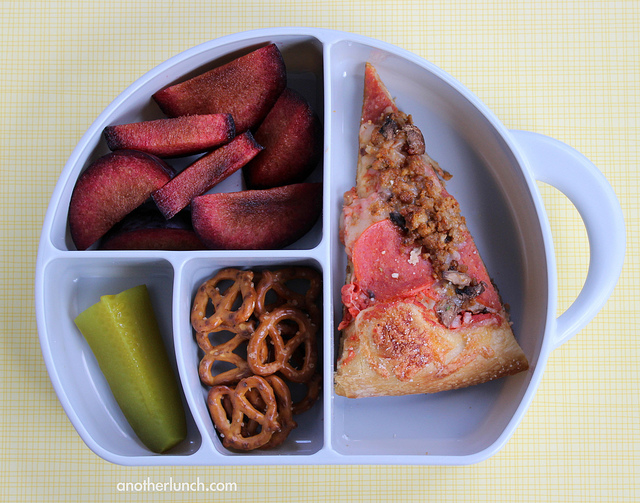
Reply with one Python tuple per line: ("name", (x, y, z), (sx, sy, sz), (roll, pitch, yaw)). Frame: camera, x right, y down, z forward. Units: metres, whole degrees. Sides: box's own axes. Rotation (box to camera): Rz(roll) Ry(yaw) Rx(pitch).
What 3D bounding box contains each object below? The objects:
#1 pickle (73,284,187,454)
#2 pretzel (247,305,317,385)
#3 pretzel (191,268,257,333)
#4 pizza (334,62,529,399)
("pickle", (-0.589, 0.377, 2.333), (0.257, 0.158, 0.506), (-24, 81, -11))
("pretzel", (-0.122, 0.278, 2.273), (0.221, 0.063, 0.247), (12, 84, -16))
("pretzel", (-0.310, 0.154, 2.297), (0.207, 0.205, 0.138), (-22, 31, -31))
("pizza", (0.242, -0.067, 2.293), (0.564, 0.170, 1.010), (-13, 85, 6))
